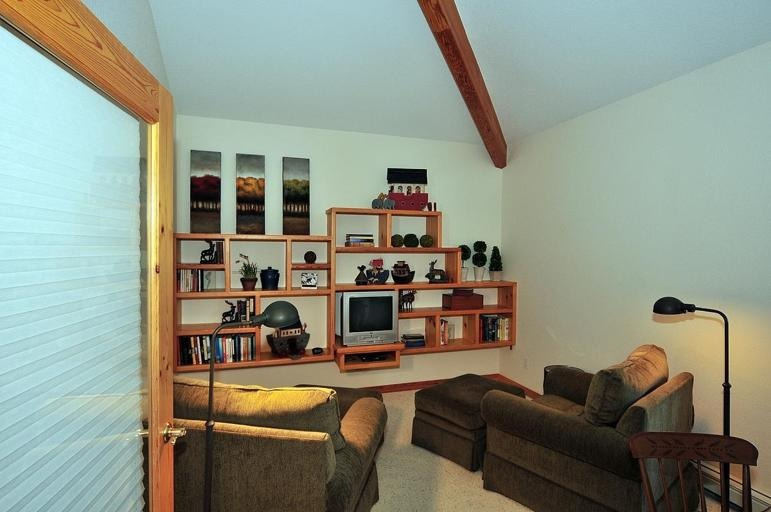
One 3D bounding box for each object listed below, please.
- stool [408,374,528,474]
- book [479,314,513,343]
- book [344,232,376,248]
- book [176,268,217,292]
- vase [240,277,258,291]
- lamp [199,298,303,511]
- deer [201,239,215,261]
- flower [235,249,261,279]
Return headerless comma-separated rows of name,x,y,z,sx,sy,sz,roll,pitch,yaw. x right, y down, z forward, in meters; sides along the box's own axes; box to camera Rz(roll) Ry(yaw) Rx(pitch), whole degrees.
stool,0.783,1.391,4.692,0.786,0.520,0.778,1,-2,-43
book,1.256,0.779,6.242,0.442,0.430,0.293,-1,4,-17
book,-0.298,-0.160,5.696,0.225,0.110,0.164,1,-2,-36
book,-1.863,0.238,5.160,0.344,0.190,0.326,4,-9,-18
vase,-1.382,0.277,5.310,0.139,0.102,0.139,1,-2,-17
lamp,-0.950,0.906,3.665,0.589,1.224,1.727,-1,-1,-17
deer,-1.763,-0.054,5.225,0.117,0.208,0.120,-2,-1,42
flower,-1.418,0.079,5.374,0.260,0.343,0.251,-1,-9,-11
